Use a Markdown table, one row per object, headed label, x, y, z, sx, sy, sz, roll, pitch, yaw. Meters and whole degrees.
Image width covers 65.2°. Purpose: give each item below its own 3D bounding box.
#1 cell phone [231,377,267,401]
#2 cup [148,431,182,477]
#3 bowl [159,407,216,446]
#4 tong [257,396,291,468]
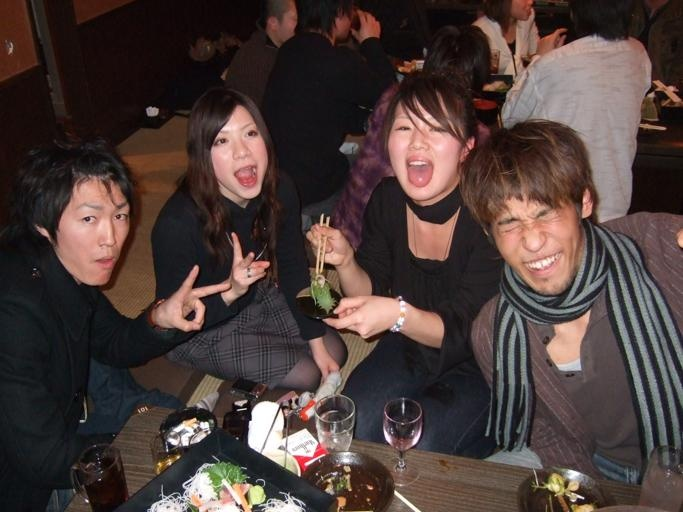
| label | x | y | z | sx | sy | sz | roll | pitch | yaw |
| --- | --- | --- | --- | --- | --- | --- | --- | --- | --- |
| cell phone | -0.404 | 0.576 | 2.309 | 0.123 | 0.036 | 0.080 | 9 | 40 | 13 |
| cup | -0.579 | 0.654 | 1.805 | 0.088 | 0.155 | 0.147 | -6 | 9 | -8 |
| bowl | -0.531 | 0.586 | 1.837 | 0.132 | 0.046 | 0.121 | 3 | 48 | -3 |
| tong | -0.227 | 0.635 | 1.889 | 0.090 | 0.177 | 0.064 | 2 | -5 | 1 |
